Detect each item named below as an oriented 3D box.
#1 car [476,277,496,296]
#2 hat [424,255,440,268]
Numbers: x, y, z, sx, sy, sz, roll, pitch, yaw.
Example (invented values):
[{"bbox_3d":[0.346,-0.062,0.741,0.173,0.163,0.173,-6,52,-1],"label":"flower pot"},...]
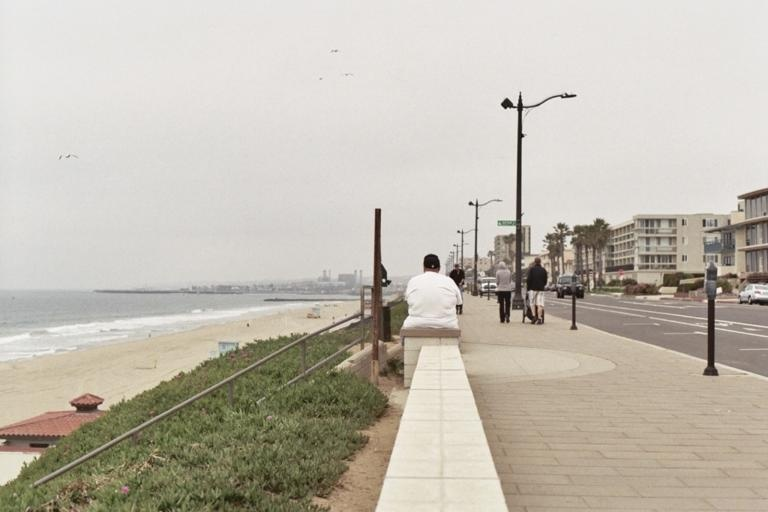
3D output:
[{"bbox_3d":[8.829,2.468,59.873,1.043,1.100,2.429,0,-6,0],"label":"car"},{"bbox_3d":[0.940,0.054,14.210,0.324,0.347,0.506,0,7,3],"label":"hat"}]
